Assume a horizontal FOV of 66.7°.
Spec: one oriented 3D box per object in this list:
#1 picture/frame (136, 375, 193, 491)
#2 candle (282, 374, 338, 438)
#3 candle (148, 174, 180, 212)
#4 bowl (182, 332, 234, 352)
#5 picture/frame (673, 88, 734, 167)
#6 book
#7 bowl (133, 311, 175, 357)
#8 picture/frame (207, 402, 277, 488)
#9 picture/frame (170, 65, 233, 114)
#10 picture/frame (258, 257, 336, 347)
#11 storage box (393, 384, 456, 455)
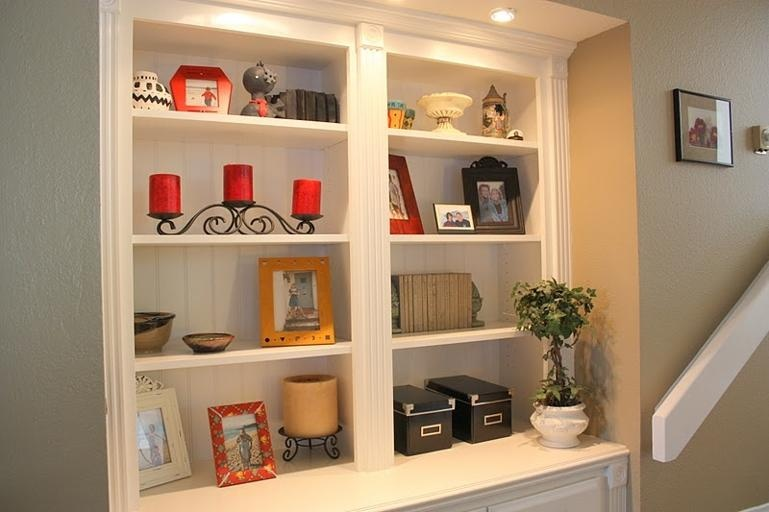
[{"bbox_3d":[-0.990,0.805,2.590,0.210,0.388,0.150,-5,9,-28],"label":"picture/frame"},{"bbox_3d":[-0.350,0.719,2.847,0.285,0.226,0.249,0,0,-21],"label":"candle"},{"bbox_3d":[-0.918,-0.263,2.452,0.160,0.164,0.153,0,1,-8],"label":"candle"},{"bbox_3d":[-0.800,0.381,2.656,0.200,0.081,0.259,-3,8,-17],"label":"bowl"},{"bbox_3d":[1.595,-0.645,2.946,0.454,0.349,0.032,1,-5,-30],"label":"picture/frame"},{"bbox_3d":[0.226,0.233,3.106,0.553,0.348,0.279,1,-3,-24],"label":"book"},{"bbox_3d":[-0.992,0.333,2.525,0.179,0.118,0.174,0,-2,0],"label":"bowl"},{"bbox_3d":[-0.649,0.862,2.633,0.366,0.443,0.037,0,-27,-34],"label":"picture/frame"},{"bbox_3d":[-0.819,-0.739,2.591,0.326,0.257,0.044,0,-8,-12],"label":"picture/frame"},{"bbox_3d":[-0.419,0.223,2.746,0.451,0.502,0.068,0,-22,-15],"label":"picture/frame"},{"bbox_3d":[0.189,0.819,2.896,0.242,0.189,0.310,1,-1,-20],"label":"storage box"}]
